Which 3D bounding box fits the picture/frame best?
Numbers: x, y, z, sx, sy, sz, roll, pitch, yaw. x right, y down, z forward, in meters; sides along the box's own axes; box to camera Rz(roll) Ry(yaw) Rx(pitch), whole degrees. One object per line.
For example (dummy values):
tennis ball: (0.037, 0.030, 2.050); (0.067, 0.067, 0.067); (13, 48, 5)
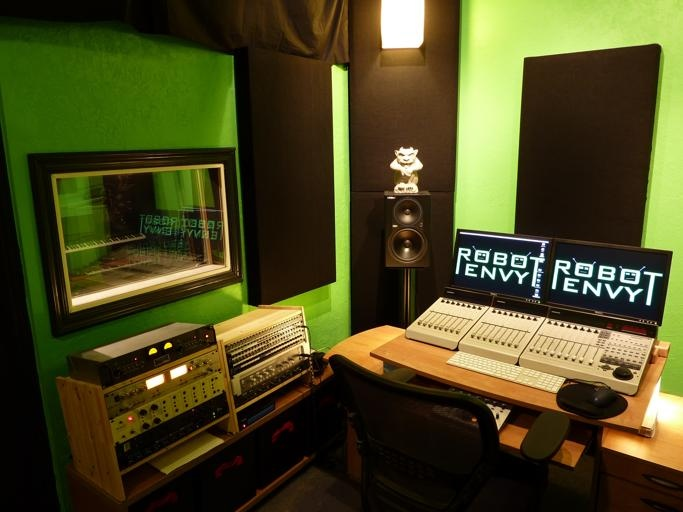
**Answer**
picture/frame: (-1.124, -0.080, 2.670); (0.070, 0.783, 0.938); (8, 14, 39)
